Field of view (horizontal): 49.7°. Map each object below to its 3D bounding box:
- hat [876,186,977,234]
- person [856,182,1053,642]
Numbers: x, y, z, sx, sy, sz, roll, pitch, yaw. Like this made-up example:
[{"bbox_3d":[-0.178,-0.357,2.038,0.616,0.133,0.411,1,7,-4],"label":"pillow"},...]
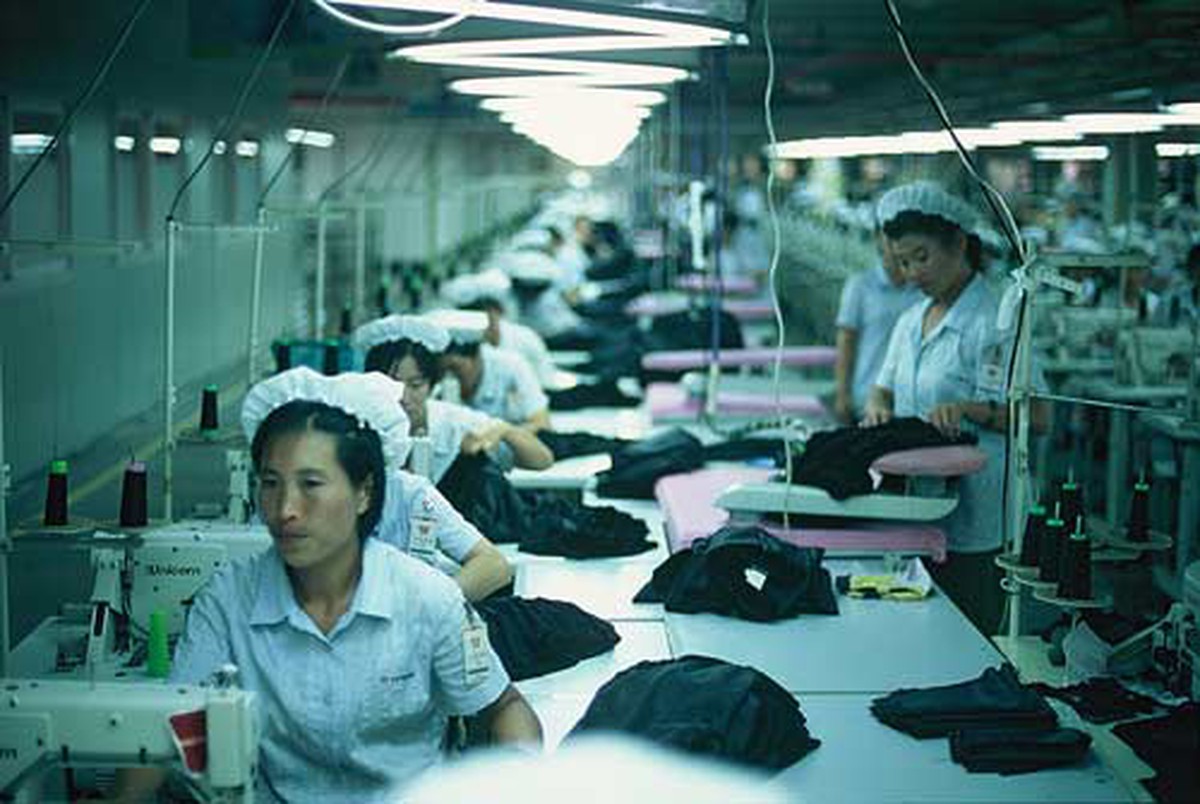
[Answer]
[{"bbox_3d":[1.598,-0.966,6.320,0.469,0.261,0.285,1,3,14],"label":"hat"},{"bbox_3d":[1.699,0.029,6.423,0.794,2.209,0.526,3,4,37],"label":"person"}]
